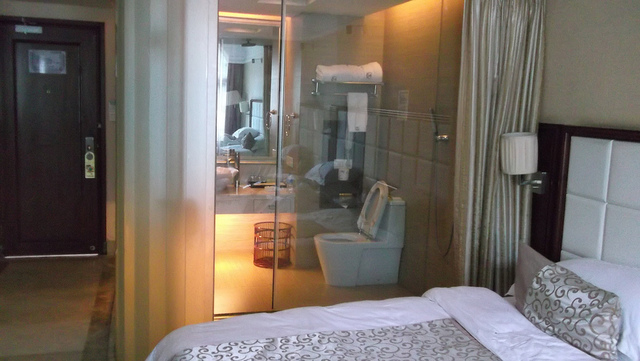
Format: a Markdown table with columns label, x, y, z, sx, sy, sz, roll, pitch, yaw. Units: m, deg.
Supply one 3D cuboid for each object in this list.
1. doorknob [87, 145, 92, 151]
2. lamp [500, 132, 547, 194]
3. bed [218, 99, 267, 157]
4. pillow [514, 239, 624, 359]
| label | x | y | z | sx | sy | sz | roll | pitch | yaw |
| --- | --- | --- | --- | --- | --- | --- | --- | --- | --- |
| doorknob | -3.288 | -0.462 | 6.149 | 0.069 | 0.061 | 0.015 | 2 | -3 | -13 |
| lamp | 2.017 | -0.136 | 4.330 | 0.438 | 0.598 | 0.337 | -5 | 7 | -16 |
| bed | -0.763 | -0.518 | 4.410 | 0.611 | 0.334 | 0.575 | -3 | 13 | -13 |
| pillow | 2.051 | 1.004 | 3.545 | 0.268 | 0.464 | 0.807 | 1 | 22 | -33 |
